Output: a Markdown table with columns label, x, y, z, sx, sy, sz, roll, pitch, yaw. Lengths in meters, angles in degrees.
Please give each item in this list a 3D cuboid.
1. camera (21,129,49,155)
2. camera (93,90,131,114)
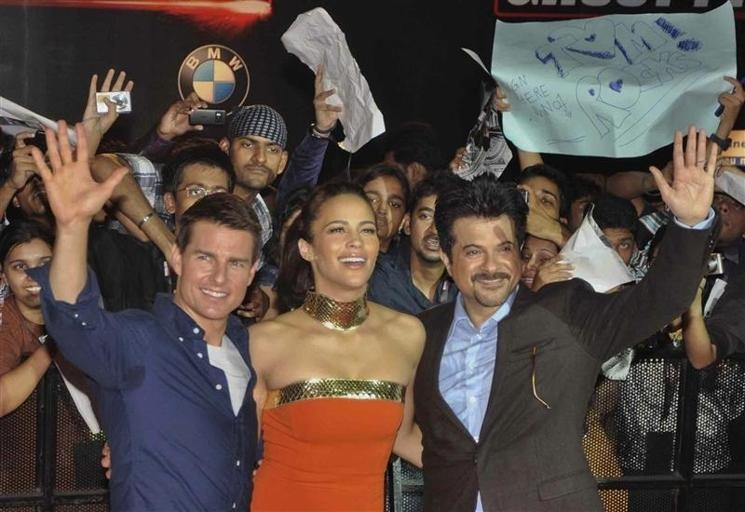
| label | x | y | z | sx | sy | sz | roll | pitch | yaw |
| --- | --- | --- | --- | --- | --- | --- | --- | --- | --- |
| camera | -2.659 | -0.904 | 5.867 | 0.172 | 0.210 | 0.224 | -7 | 20 | -37 |
| camera | -2.130 | -1.262 | 6.057 | 0.269 | 0.195 | 0.094 | 1 | 16 | -16 |
